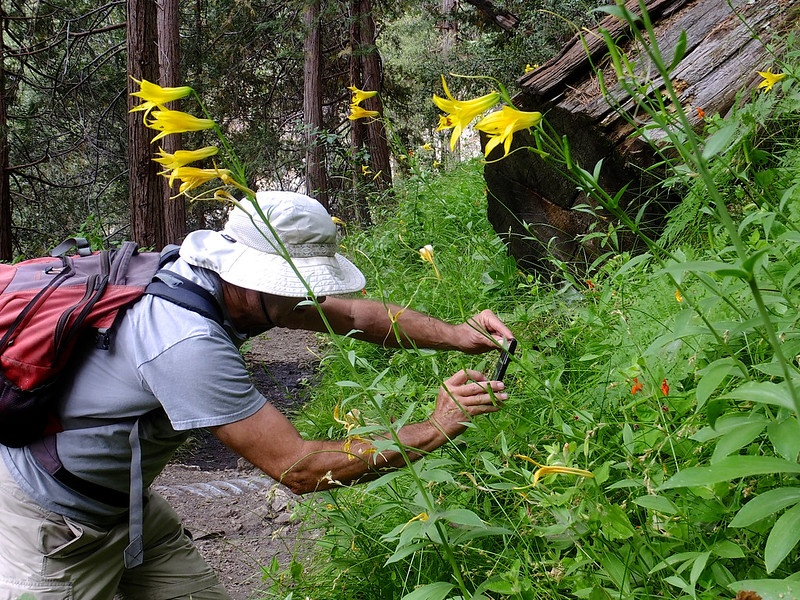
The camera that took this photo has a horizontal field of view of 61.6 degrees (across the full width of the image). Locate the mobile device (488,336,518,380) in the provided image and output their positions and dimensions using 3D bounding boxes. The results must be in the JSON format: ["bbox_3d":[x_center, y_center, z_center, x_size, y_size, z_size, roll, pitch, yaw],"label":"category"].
[{"bbox_3d":[0.373,0.226,2.422,0.040,0.145,0.154,18,0,4],"label":"mobile device"}]

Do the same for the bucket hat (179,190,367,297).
[{"bbox_3d":[-0.450,-0.259,2.605,0.643,0.326,0.701,17,18,33],"label":"bucket hat"}]
